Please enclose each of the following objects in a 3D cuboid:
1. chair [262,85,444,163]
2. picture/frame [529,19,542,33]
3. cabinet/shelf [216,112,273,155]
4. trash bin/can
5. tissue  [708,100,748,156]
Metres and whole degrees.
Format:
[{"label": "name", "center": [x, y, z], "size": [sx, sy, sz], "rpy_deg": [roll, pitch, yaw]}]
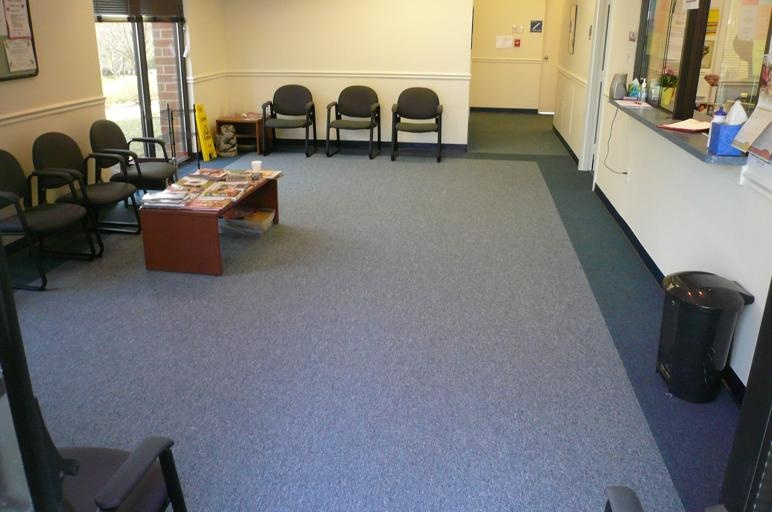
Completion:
[{"label": "chair", "center": [-0.136, -1.979, 8.148], "size": [1.951, 0.945, 0.899], "rpy_deg": [3, 25, 6]}, {"label": "picture/frame", "center": [3.072, -4.740, 11.333], "size": [0.266, 0.271, 0.028], "rpy_deg": [1, 29, 8]}, {"label": "cabinet/shelf", "center": [-2.164, -1.753, 8.395], "size": [0.749, 0.726, 0.608], "rpy_deg": [1, 33, 1]}, {"label": "trash bin/can", "center": [1.826, 0.461, 3.134], "size": [0.442, 0.711, 0.478], "rpy_deg": [-5, 25, 0]}, {"label": "tissue ", "center": [2.020, -0.753, 3.246], "size": [0.191, 0.278, 0.318], "rpy_deg": [12, 28, 25]}]
